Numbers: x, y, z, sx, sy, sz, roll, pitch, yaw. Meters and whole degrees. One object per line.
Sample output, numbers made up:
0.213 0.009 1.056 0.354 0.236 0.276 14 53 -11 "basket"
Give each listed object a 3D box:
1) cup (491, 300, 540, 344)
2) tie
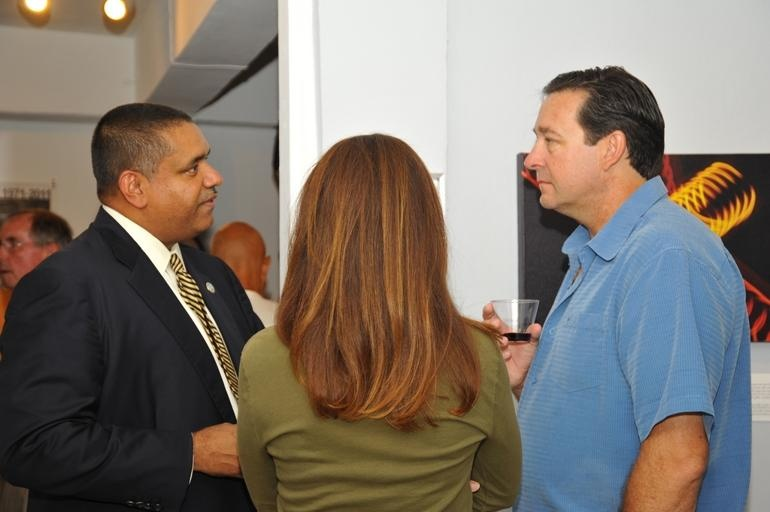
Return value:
0.494 0.244 2.642 0.163 0.151 0.174 5 -4 0 "cup"
-0.717 0.304 2.732 0.096 0.641 0.052 -14 -24 -44 "tie"
